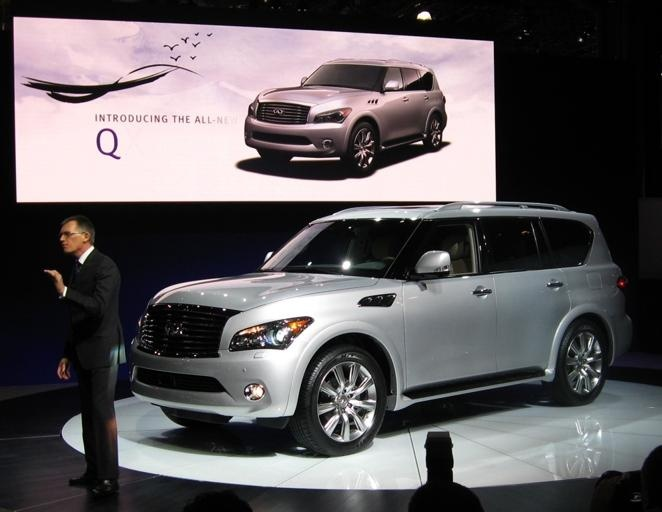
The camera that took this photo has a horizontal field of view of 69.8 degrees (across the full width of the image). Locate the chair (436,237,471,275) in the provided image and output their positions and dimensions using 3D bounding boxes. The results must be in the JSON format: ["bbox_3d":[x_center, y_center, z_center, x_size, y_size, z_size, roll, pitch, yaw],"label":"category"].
[{"bbox_3d":[1.392,0.002,5.096,0.305,0.370,0.403,-7,-7,36],"label":"chair"}]

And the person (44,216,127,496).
[{"bbox_3d":[-1.833,0.825,3.635,0.446,1.906,0.640,2,-6,-23],"label":"person"}]

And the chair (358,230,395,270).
[{"bbox_3d":[0.473,-0.039,4.986,0.370,0.248,0.354,12,40,3],"label":"chair"}]

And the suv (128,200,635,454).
[{"bbox_3d":[0.814,0.540,5.060,5.167,2.544,1.418,2,-6,-28],"label":"suv"}]
